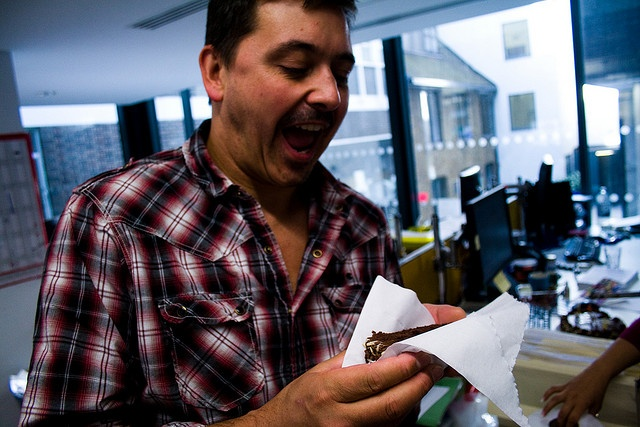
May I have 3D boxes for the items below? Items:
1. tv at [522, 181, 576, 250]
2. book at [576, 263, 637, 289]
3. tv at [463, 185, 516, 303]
[{"bbox_3d":[1.678,-0.015,3.599,0.375,0.494,0.120,2,11,4],"label":"tv"},{"bbox_3d":[1.775,0.395,3.014,0.311,0.065,0.410,-1,5,32],"label":"book"},{"bbox_3d":[0.953,0.183,2.775,0.168,0.474,0.655,1,10,23],"label":"tv"}]
